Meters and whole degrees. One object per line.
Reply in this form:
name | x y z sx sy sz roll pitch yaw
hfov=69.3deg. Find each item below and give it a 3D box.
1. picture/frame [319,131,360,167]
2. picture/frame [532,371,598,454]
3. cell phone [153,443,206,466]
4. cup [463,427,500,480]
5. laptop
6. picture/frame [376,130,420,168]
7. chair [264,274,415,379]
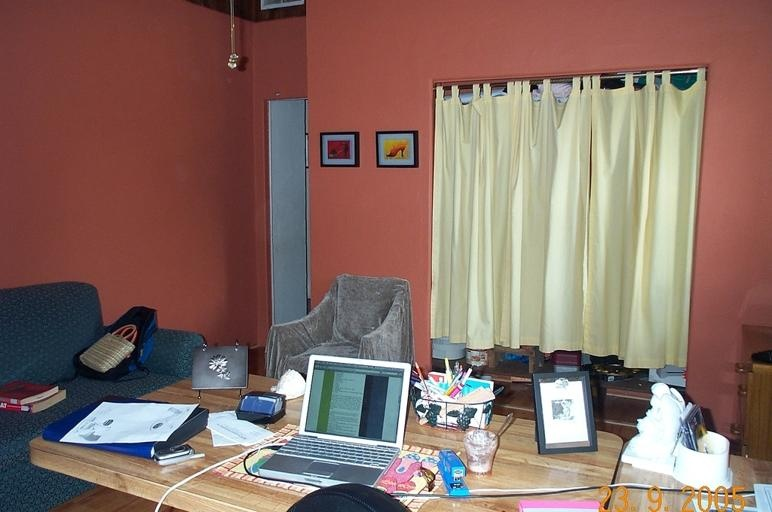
picture/frame | -0.409 -0.977 5.063 0.328 0.277 0.026 3 8 25
picture/frame | 0.786 0.700 2.478 0.310 0.388 0.115 -4 -12 -1
cell phone | -0.903 0.842 2.425 0.095 0.033 0.127 -2 -4 43
cup | 0.400 0.827 2.347 0.153 0.145 0.166 -1 0 0
laptop | -0.147 0.717 2.489 0.508 0.345 0.536 2 9 20
picture/frame | 0.112 -0.941 4.870 0.329 0.277 0.026 3 10 26
chair | -0.381 0.731 4.578 1.170 1.061 1.095 -2 -2 11
